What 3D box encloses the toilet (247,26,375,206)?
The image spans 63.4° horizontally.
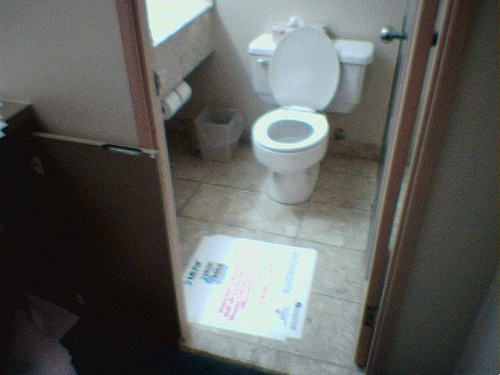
[{"bbox_3d":[0.293,-0.555,2.316,0.696,0.549,0.801,12,51,13],"label":"toilet"}]

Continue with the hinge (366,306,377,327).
[{"bbox_3d":[0.452,0.485,1.516,0.043,0.076,0.039,6,48,8],"label":"hinge"}]
